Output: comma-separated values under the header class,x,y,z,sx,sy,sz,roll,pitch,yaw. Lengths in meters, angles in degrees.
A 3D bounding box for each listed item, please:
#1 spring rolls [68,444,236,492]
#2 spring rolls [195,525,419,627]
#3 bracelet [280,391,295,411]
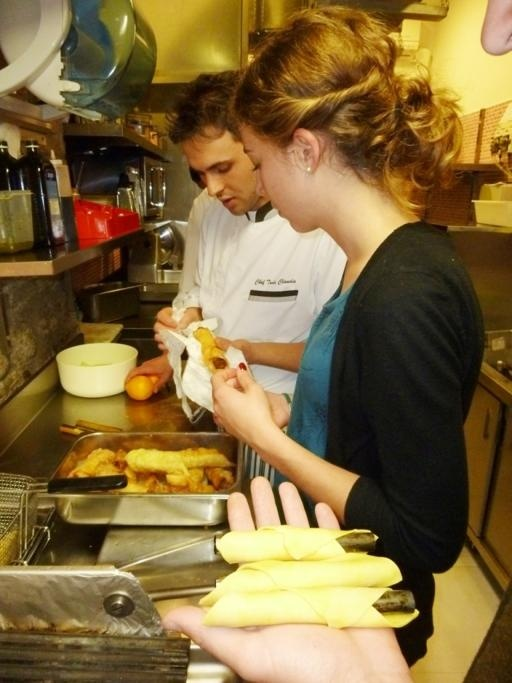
class,x,y,z,sx,sy,sz,roll,pitch,yaw
spring rolls,-0.234,0.297,1.250,0.257,0.040,0.150,0,15,1
spring rolls,0.066,0.300,0.671,0.195,0.042,0.159,0,16,-3
bracelet,0.085,0.161,1.479,0.039,0.042,0.049,-1,-17,2
